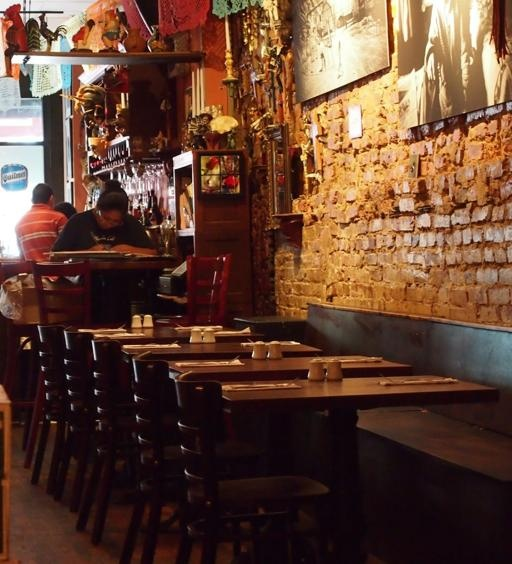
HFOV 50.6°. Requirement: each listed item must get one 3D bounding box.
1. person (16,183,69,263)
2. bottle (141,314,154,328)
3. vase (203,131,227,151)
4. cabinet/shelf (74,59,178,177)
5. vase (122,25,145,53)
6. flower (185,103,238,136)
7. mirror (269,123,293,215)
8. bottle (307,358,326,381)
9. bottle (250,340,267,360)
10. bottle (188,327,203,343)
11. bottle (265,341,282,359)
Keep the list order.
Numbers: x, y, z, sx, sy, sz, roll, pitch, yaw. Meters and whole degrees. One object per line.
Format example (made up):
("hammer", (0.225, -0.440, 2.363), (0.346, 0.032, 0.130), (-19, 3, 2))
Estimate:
("person", (-2.524, -0.641, 6.423), (0.483, 1.013, 0.466), (7, 19, 11))
("bottle", (-0.775, 0.268, 3.812), (0.094, 0.111, 0.098), (0, 1, -2))
("vase", (-0.462, -1.604, 6.182), (0.200, 0.174, 0.221), (2, -6, -8))
("cabinet/shelf", (-1.834, -2.393, 7.805), (0.822, 1.683, 2.389), (-3, 1, -21))
("vase", (-1.454, -2.876, 6.444), (0.239, 0.348, 0.351), (-6, 9, -11))
("flower", (-0.505, -1.896, 6.306), (0.533, 0.281, 0.595), (-1, 5, -1))
("mirror", (0.236, -1.119, 5.388), (0.217, 0.863, 0.239), (-4, 9, 4))
("bottle", (0.202, 0.304, 1.828), (0.052, 0.075, 0.072), (1, -7, -3))
("bottle", (0.008, 0.307, 2.376), (0.063, 0.072, 0.067), (1, -4, -13))
("bottle", (-0.340, 0.298, 3.019), (0.078, 0.088, 0.080), (1, -3, -7))
("bottle", (0.071, 0.299, 2.365), (0.064, 0.073, 0.070), (1, -7, -6))
